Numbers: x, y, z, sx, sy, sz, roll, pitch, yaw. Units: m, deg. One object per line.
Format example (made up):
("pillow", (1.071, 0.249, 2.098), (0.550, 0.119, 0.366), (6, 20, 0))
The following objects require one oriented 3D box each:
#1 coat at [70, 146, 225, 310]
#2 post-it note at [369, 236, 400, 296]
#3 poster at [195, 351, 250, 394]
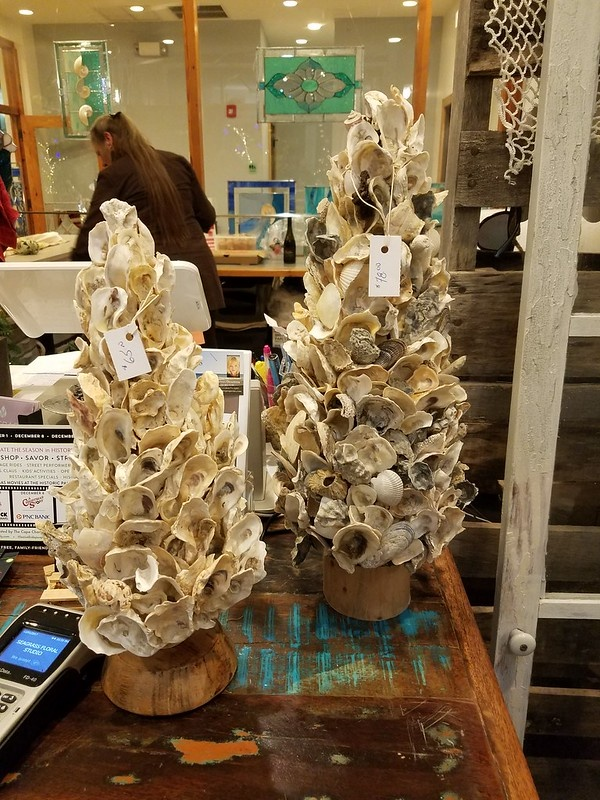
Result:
("coat", (-0.613, -0.798, 2.578), (0.517, 0.530, 0.381), (1, -7, -35))
("post-it note", (0.105, -0.167, 0.753), (0.039, 0.072, 0.013), (1, 14, -3))
("poster", (-0.128, -0.047, 1.036), (0.097, 0.074, 0.046), (1, -9, 3))
